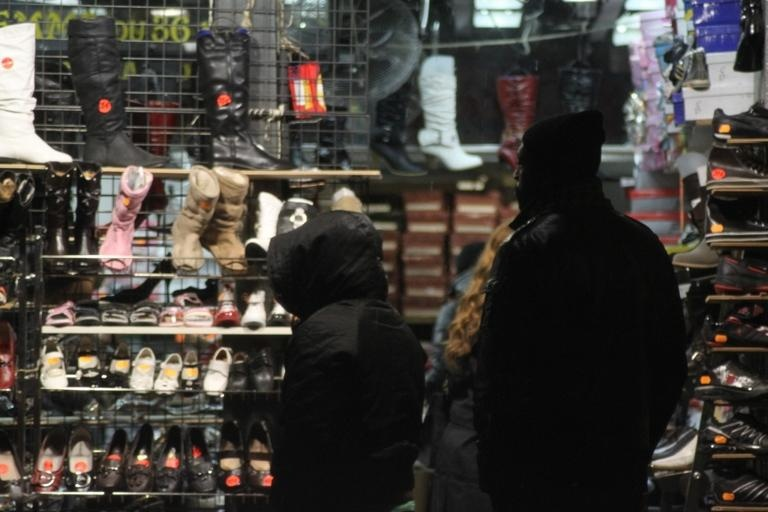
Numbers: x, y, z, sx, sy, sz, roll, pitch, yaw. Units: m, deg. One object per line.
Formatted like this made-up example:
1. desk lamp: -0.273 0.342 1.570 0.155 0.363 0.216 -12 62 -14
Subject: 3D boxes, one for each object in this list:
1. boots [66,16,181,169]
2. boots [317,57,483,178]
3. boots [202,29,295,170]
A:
1. boots: -1.233 -0.762 5.530 0.411 0.697 0.226 -3 7 -14
2. boots: 0.020 -0.498 4.120 0.533 0.717 0.245 1 1 -6
3. boots: -0.661 -0.735 5.512 0.250 0.667 0.343 -7 8 -38
